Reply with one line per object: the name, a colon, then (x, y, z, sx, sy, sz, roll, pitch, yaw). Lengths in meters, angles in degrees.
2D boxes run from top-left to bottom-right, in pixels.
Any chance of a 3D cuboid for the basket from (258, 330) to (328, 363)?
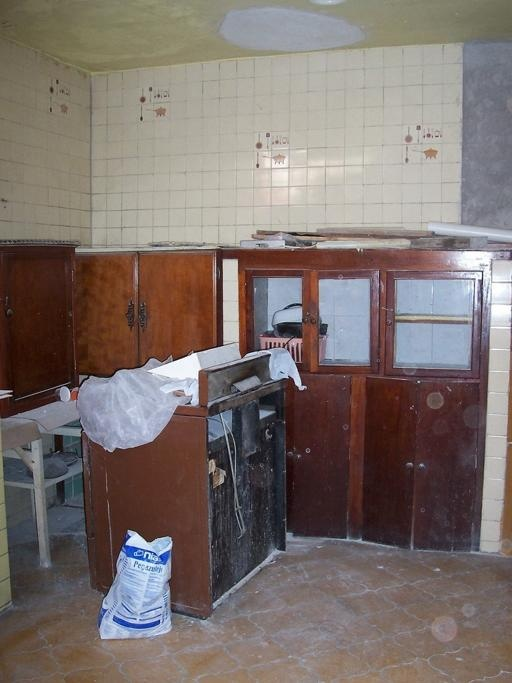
basket: (0.202, 0.024, 3.317, 0.273, 0.138, 0.182, 2, 0, 12)
